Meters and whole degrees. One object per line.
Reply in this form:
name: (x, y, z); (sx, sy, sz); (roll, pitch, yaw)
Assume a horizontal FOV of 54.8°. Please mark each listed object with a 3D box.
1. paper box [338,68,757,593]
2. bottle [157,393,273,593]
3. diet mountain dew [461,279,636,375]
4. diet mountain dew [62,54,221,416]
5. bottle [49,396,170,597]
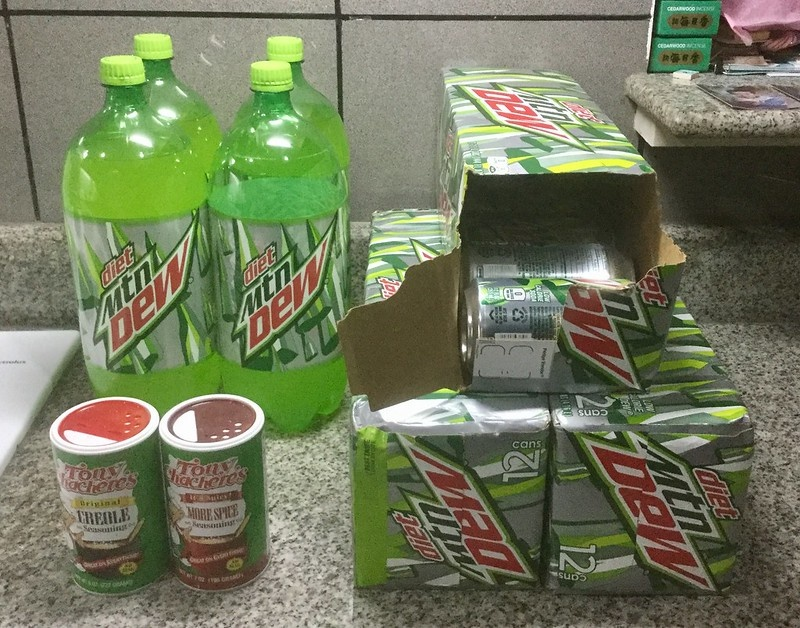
paper box: (0.175, -0.063, 1.162); (0.427, 0.406, 0.744); (1, 31, 4)
bottle: (-0.232, 0.229, 0.997); (0.133, 0.212, 0.145); (-1, 32, 1)
diet mountain dew: (0.187, 0.016, 0.953); (0.204, 0.131, 0.081); (0, 32, 2)
diet mountain dew: (-0.385, -0.100, 1.146); (0.209, 0.521, 0.215); (-4, 32, -3)
bottle: (-0.361, 0.229, 0.995); (0.139, 0.213, 0.148); (-1, 32, 1)
